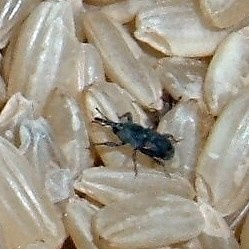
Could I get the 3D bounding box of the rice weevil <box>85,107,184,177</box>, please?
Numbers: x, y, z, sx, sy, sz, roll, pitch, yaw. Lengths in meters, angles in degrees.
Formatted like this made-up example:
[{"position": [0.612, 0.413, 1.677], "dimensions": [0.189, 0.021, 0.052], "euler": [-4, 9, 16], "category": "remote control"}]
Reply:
[{"position": [0.020, 0.035, 1.128], "dimensions": [0.183, 0.054, 0.151], "euler": [20, 52, 4], "category": "rice weevil"}]
